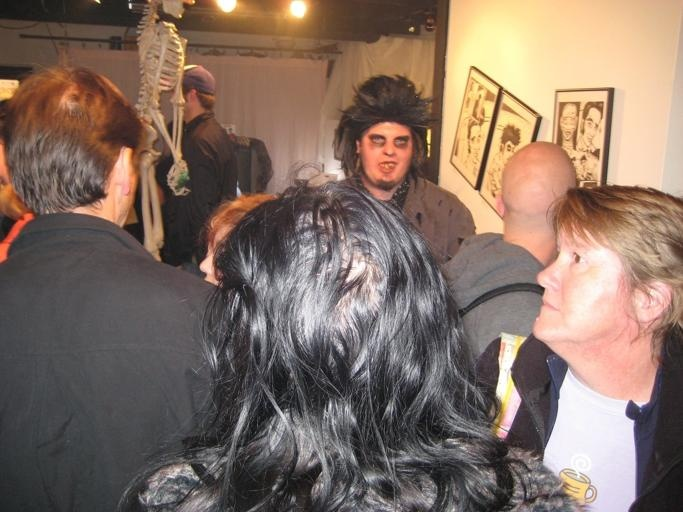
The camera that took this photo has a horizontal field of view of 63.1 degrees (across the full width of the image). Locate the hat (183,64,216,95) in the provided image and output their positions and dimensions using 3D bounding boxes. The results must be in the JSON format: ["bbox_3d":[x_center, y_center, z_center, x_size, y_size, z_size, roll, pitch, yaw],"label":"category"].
[{"bbox_3d":[-0.997,-1.211,3.938,0.219,0.172,0.176,29,28,1],"label":"hat"}]

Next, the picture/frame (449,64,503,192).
[{"bbox_3d":[0.882,-0.854,3.767,0.026,0.670,0.642,16,6,32],"label":"picture/frame"}]
